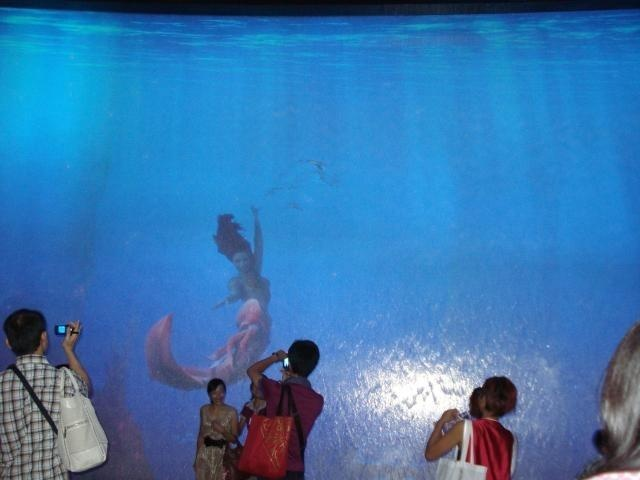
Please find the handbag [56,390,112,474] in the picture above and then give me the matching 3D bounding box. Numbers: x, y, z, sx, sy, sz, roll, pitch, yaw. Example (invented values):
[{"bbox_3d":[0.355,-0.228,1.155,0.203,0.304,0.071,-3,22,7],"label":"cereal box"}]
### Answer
[{"bbox_3d":[-1.615,1.298,4.109,0.310,0.537,0.164,2,1,9],"label":"handbag"}]
